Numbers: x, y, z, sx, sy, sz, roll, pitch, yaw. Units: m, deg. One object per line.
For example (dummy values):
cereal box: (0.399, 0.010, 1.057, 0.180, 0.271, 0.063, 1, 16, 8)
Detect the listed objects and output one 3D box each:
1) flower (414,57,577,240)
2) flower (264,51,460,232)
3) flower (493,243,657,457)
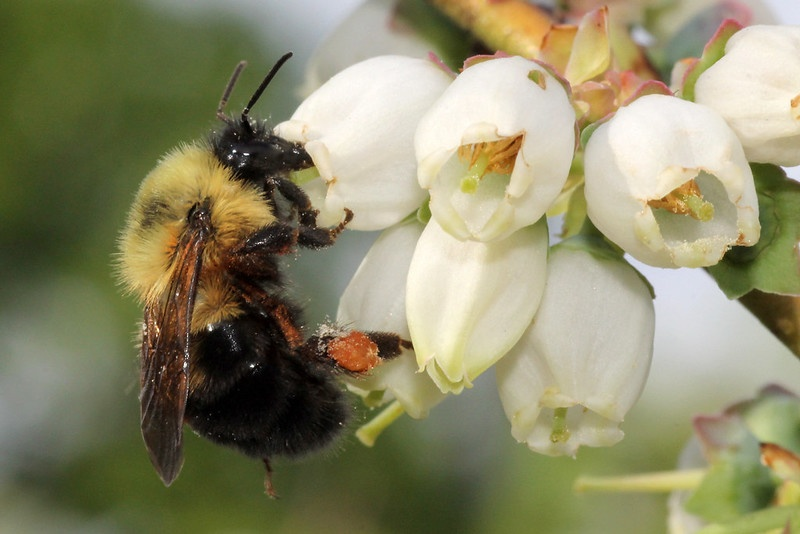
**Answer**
flower: (0.120, -0.157, 1.226, 0.174, 0.185, 0.240, 23, 87, 10)
flower: (-0.027, -0.197, 1.313, 0.215, 0.166, 0.186, 11, 102, -29)
flower: (0.304, 0.150, 1.398, 0.244, 0.266, 0.388, -6, 59, 18)
